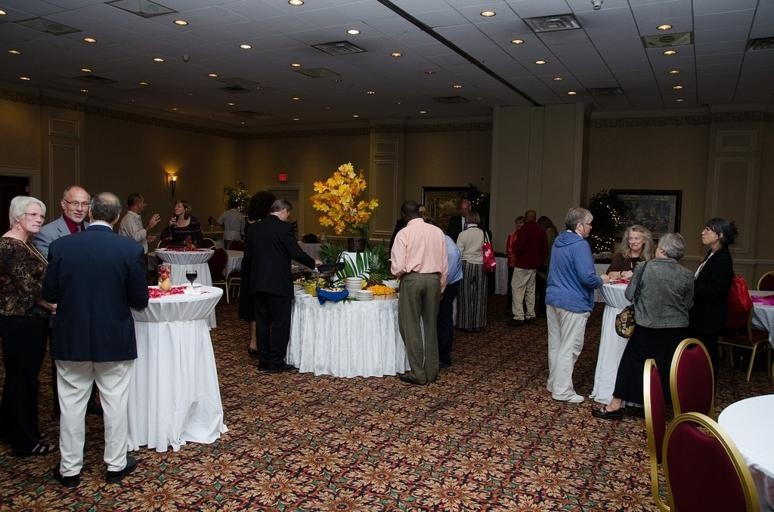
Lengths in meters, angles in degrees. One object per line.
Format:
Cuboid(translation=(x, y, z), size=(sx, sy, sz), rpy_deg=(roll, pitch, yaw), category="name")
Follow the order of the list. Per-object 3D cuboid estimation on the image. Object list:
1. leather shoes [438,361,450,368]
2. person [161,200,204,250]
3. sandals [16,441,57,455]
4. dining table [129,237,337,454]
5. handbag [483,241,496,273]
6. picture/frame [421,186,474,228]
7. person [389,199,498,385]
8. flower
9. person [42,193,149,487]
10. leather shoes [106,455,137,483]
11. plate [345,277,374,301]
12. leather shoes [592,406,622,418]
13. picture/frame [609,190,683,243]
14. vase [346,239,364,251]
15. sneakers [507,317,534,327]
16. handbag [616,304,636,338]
Cuboid(translation=(0.759, 1.414, 6.957), size=(0.171, 0.073, 0.059), rpy_deg=(5, -2, -17), category="leather shoes")
Cuboid(translation=(-3.241, -0.355, 8.463), size=(0.609, 1.029, 0.553), rpy_deg=(1, 4, -8), category="person")
Cuboid(translation=(-3.123, 1.740, 4.823), size=(0.304, 0.108, 0.123), rpy_deg=(0, 5, -21), category="sandals")
Cuboid(translation=(-1.903, 1.020, 5.582), size=(1.203, 1.773, 1.236), rpy_deg=(3, 4, 19), category="dining table")
Cuboid(translation=(1.607, 0.034, 8.417), size=(0.204, 0.419, 0.550), rpy_deg=(-5, 51, 8), category="handbag")
Cuboid(translation=(1.432, -1.135, 12.307), size=(1.385, 1.519, 0.109), rpy_deg=(2, 2, 16), category="picture/frame")
Cuboid(translation=(0.378, 0.472, 6.371), size=(0.658, 2.060, 0.482), rpy_deg=(2, 13, 4), category="person")
Cuboid(translation=(-0.525, -0.693, 6.661), size=(0.762, 0.896, 0.449), rpy_deg=(-6, 15, -30), category="flower")
Cuboid(translation=(-2.393, 0.695, 4.471), size=(0.819, 2.353, 0.546), rpy_deg=(-5, 14, -26), category="person")
Cuboid(translation=(-2.237, 1.829, 4.582), size=(0.095, 0.117, 0.283), rpy_deg=(9, 7, 12), category="leather shoes")
Cuboid(translation=(-0.322, 0.389, 6.495), size=(0.316, 0.232, 0.310), rpy_deg=(-2, 14, -14), category="plate")
Cuboid(translation=(2.337, 1.662, 5.673), size=(0.247, 0.095, 0.132), rpy_deg=(3, -1, 7), category="leather shoes")
Cuboid(translation=(5.244, -0.828, 10.799), size=(1.228, 1.121, 0.084), rpy_deg=(5, 13, 29), category="picture/frame")
Cuboid(translation=(-0.401, -0.133, 6.897), size=(0.160, 0.139, 0.164), rpy_deg=(0, -3, 43), category="vase")
Cuboid(translation=(2.331, 1.147, 9.289), size=(0.493, 0.222, 0.168), rpy_deg=(4, -3, -30), category="sneakers")
Cuboid(translation=(2.363, 0.649, 5.301), size=(0.174, 0.361, 0.287), rpy_deg=(2, -12, 39), category="handbag")
